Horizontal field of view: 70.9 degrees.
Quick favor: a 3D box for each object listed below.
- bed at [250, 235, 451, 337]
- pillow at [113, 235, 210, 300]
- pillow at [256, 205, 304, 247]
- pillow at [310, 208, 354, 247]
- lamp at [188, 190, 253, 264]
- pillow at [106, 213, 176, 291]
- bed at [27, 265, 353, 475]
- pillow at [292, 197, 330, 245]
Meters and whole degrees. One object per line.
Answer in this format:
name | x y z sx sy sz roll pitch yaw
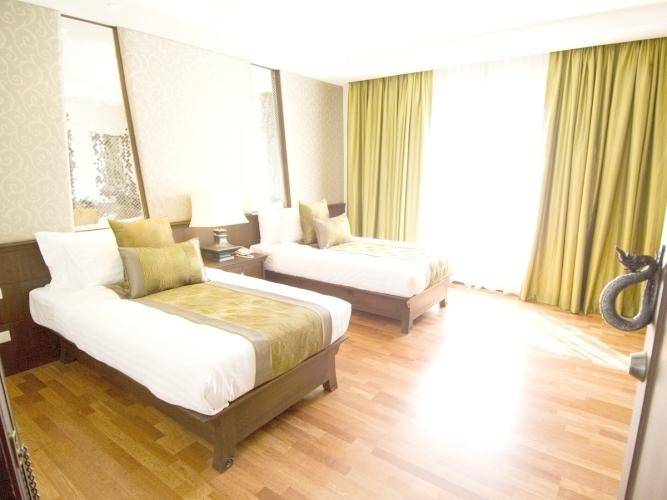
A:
bed | 0.171 0.204 4.944 1.586 0.548 0.961 9 17 36
pillow | -1.429 0.159 3.799 0.497 0.314 0.177 -7 -30 -42
pillow | -0.625 -0.270 5.406 0.423 0.430 0.196 -2 -1 -13
pillow | -0.036 -0.249 5.456 0.177 0.355 0.571 -4 7 41
lamp | -1.198 -0.248 4.753 0.483 0.695 0.447 4 15 24
pillow | -1.586 0.044 3.832 0.317 0.576 0.641 0 4 31
bed | -1.077 0.763 3.865 2.117 0.770 1.555 13 18 43
pillow | -0.278 -0.313 5.423 0.211 0.549 0.577 -4 8 31
